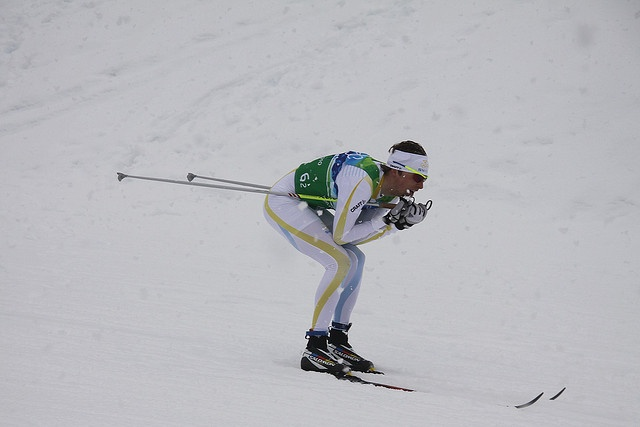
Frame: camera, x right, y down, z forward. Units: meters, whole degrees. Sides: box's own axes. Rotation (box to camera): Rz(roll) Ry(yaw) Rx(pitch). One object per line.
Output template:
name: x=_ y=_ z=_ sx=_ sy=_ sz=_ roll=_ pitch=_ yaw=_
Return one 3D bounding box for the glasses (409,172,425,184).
glasses: x=1.380 y=-0.476 z=14.917 sx=0.198 sy=0.150 sz=0.078 roll=2 pitch=52 yaw=-13

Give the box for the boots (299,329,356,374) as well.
boots: x=0.189 y=1.975 z=15.070 sx=0.339 sy=0.943 sz=0.608 roll=9 pitch=83 yaw=-46

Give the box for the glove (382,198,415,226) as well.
glove: x=1.185 y=-0.020 z=14.773 sx=0.205 sy=0.473 sz=0.304 roll=68 pitch=29 yaw=-26

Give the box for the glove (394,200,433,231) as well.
glove: x=1.270 y=0.013 z=14.819 sx=0.501 sy=0.484 sz=0.179 roll=12 pitch=66 yaw=-39
